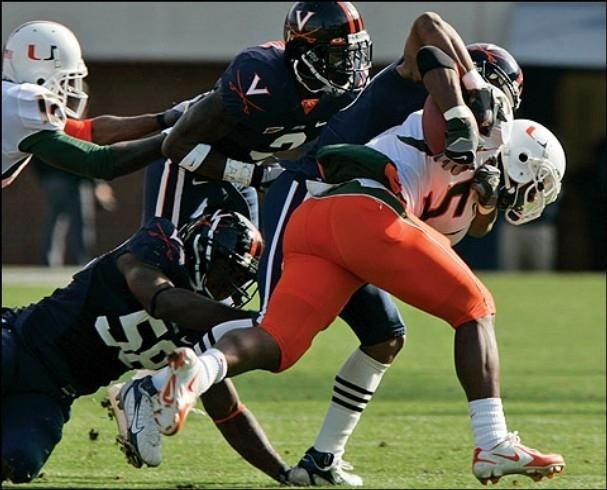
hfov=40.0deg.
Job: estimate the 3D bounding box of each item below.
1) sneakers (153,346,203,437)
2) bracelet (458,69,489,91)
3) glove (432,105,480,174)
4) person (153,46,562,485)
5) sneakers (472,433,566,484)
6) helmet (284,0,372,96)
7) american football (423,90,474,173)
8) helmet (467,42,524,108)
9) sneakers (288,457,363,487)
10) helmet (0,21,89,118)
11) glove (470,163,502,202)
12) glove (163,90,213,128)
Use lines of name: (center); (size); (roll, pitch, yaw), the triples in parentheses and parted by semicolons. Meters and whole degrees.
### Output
sneakers: (-0.421, 0.493, 2.864); (0.152, 0.351, 0.125); (10, 21, -12)
bracelet: (0.600, -0.590, 2.998); (0.083, 0.069, 0.067); (41, -3, -28)
glove: (0.549, -0.369, 2.944); (0.192, 0.244, 0.138); (26, -29, -35)
person: (0.231, 0.149, 2.997); (1.296, 1.350, 0.495); (0, 2, -3)
sneakers: (0.704, 0.735, 2.820); (0.367, 0.201, 0.134); (-1, -15, -1)
helmet: (0.099, -0.824, 3.469); (0.403, 0.372, 0.324); (13, 23, 19)
american football: (0.509, -0.385, 2.923); (0.119, 0.267, 0.187); (5, -4, -42)
helmet: (0.730, -0.687, 3.262); (0.246, 0.198, 0.194); (20, 16, 13)
sneakers: (0.069, 0.917, 3.415); (0.333, 0.138, 0.112); (4, -10, -2)
helmet: (-1.104, -0.800, 3.754); (0.460, 0.463, 0.343); (-1, 9, -18)
glove: (0.662, -0.236, 3.086); (0.065, 0.101, 0.137); (-14, 15, 0)
glove: (-0.539, -0.617, 3.874); (0.169, 0.119, 0.225); (-30, -1, -21)
